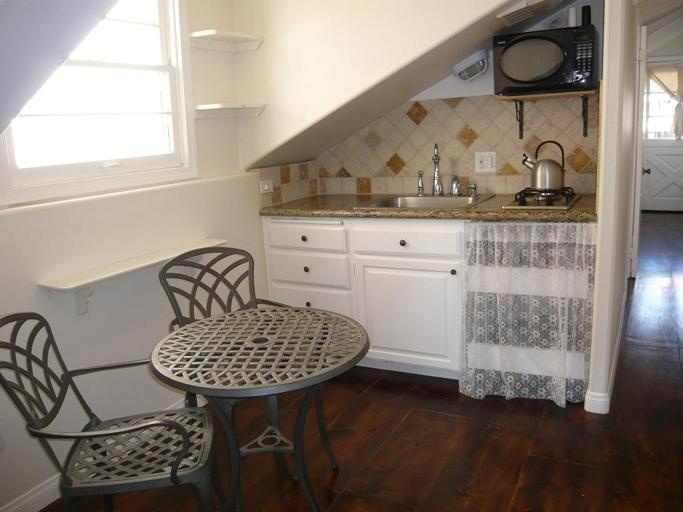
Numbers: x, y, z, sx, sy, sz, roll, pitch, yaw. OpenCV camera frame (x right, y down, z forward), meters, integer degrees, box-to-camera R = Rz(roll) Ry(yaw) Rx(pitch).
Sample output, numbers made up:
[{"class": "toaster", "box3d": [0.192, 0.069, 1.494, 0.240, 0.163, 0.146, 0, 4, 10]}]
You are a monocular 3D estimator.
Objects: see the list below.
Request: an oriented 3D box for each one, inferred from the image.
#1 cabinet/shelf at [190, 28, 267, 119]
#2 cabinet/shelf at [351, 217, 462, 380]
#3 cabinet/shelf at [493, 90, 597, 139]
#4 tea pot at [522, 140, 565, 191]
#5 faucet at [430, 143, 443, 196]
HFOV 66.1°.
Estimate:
[{"class": "cabinet/shelf", "box3d": [-0.698, -1.122, 3.227, 0.278, 0.528, 0.541, 8, 12, 41]}, {"class": "cabinet/shelf", "box3d": [0.499, 0.211, 3.629, 0.872, 1.325, 0.856, 2, 6, 21]}, {"class": "cabinet/shelf", "box3d": [1.289, -0.891, 3.352, 0.619, 0.296, 0.423, 3, 12, 26]}, {"class": "tea pot", "box3d": [1.290, -0.575, 3.341, 0.278, 0.303, 0.512, 2, 11, 22]}, {"class": "faucet", "box3d": [0.694, -0.612, 3.759, 0.077, 0.363, 0.172, 0, 11, 10]}]
